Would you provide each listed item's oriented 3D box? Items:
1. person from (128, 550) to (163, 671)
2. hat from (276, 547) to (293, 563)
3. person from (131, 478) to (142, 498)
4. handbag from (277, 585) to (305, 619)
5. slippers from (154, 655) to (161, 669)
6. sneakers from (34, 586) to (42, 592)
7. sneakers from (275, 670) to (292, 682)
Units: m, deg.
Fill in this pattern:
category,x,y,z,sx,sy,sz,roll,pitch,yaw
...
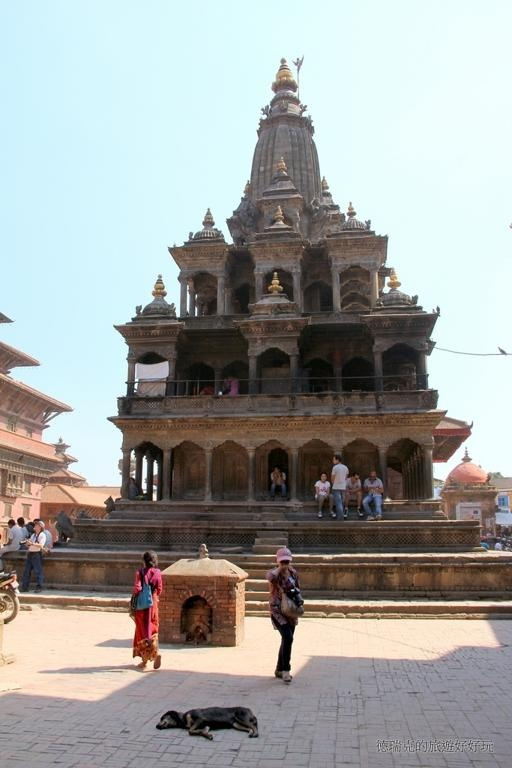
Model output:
category,x,y,z,sx,sy,sz,roll,pitch,yaw
person,-1.373,2.790,9.030,0.369,1.368,0.557,0,-14,-9
hat,0.326,2.054,8.803,0.257,0.195,0.386,0,-17,-3
person,-4.446,3.880,26.918,0.385,0.855,1.687,0,-13,-9
handbag,0.411,2.564,8.451,0.236,0.326,0.214,-3,-13,5
slippers,-1.169,3.322,8.698,0.078,0.161,0.065,8,5,-19
sneakers,-5.031,4.759,16.771,0.104,0.120,0.289,0,-28,-4
sneakers,0.305,3.313,8.199,0.079,0.093,0.226,7,-23,-31
